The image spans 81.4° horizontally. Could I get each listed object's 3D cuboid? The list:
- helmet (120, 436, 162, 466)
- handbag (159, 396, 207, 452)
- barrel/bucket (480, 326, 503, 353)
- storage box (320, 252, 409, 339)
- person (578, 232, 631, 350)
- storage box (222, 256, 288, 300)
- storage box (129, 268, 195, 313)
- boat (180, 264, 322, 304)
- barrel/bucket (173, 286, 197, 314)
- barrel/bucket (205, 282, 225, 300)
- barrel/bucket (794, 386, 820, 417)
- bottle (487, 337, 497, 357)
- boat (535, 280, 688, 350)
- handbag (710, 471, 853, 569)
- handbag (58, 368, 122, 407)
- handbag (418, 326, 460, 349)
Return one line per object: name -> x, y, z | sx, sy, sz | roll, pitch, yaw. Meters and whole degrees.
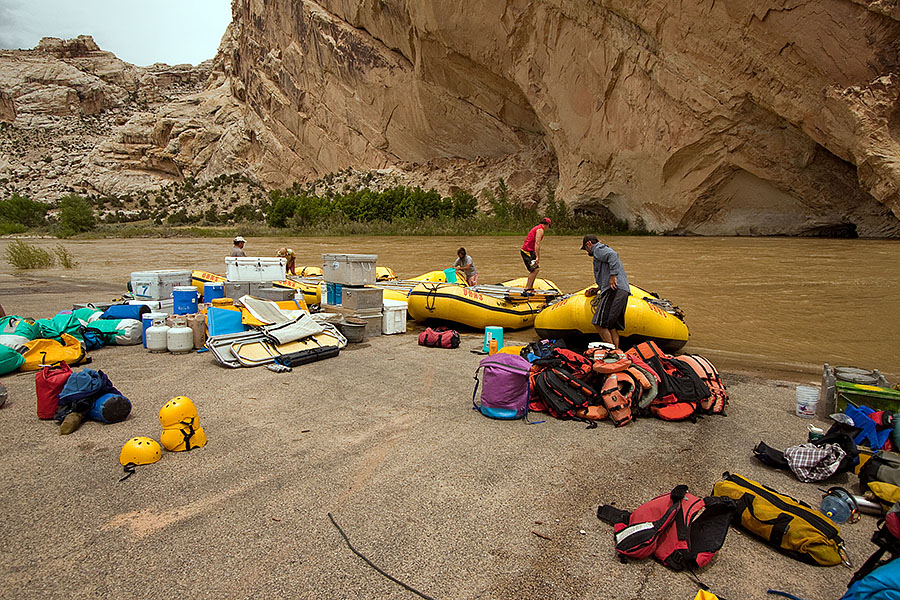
helmet -> -3.417, 1.665, 5.750 | 0.287, 0.290, 0.362 | 18, -5, 0
handbag -> -3.083, 1.457, 6.240 | 0.584, 0.611, 0.576 | -10, -13, -31
barrel/bucket -> 0.744, 0.749, 9.798 | 0.452, 0.484, 0.448 | 1, -3, 0
storage box -> -1.615, -0.130, 11.023 | 1.700, 1.920, 2.001 | -12, 18, -38
person -> 2.712, -0.083, 9.174 | 0.785, 2.072, 1.493 | 2, 12, 16
storage box -> -4.234, -0.548, 11.193 | 0.879, 0.649, 1.383 | 0, 3, 22
storage box -> -6.111, -0.301, 11.002 | 0.915, 0.692, 1.096 | 3, 3, 23
boat -> -4.592, -0.390, 12.597 | 2.468, 0.604, 1.489 | 12, 4, 10
barrel/bucket -> -5.178, -0.044, 10.333 | 0.500, 0.525, 0.556 | 2, 6, 16
barrel/bucket -> -4.944, -0.210, 10.883 | 0.389, 0.358, 0.388 | 2, 6, 0
barrel/bucket -> 4.878, 1.382, 7.143 | 0.264, 0.359, 0.353 | 5, 13, 30
bottle -> 0.725, 0.860, 9.532 | 0.252, 0.269, 0.240 | -1, -4, 5
boat -> 3.056, 0.357, 9.804 | 1.728, 0.620, 1.733 | 3, 7, 12
handbag -> 3.110, 2.052, 4.944 | 0.606, 0.352, 0.964 | -11, 19, -41
handbag -> -4.593, 1.103, 6.605 | 0.409, 0.207, 0.522 | -3, 14, 10
handbag -> -0.230, 0.747, 10.245 | 0.636, 0.249, 0.416 | 6, 6, 21
